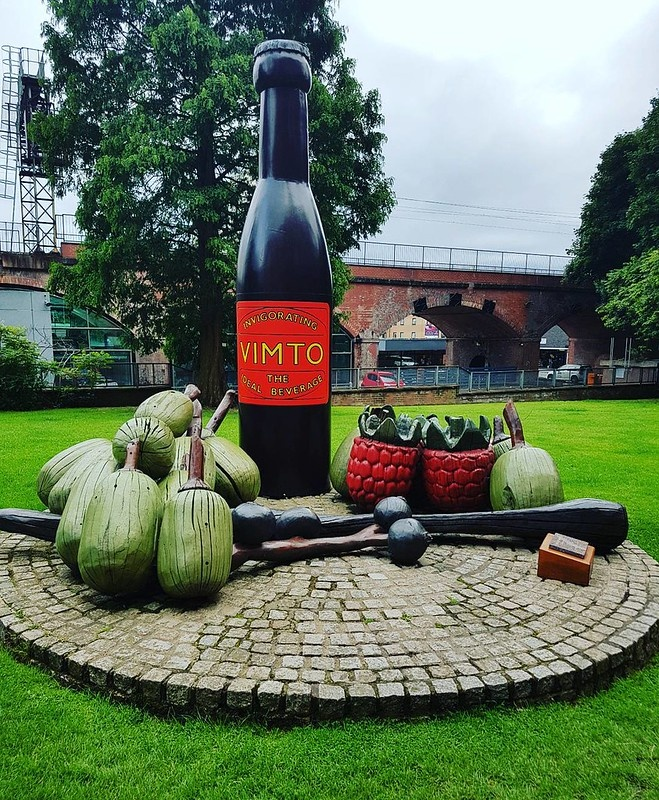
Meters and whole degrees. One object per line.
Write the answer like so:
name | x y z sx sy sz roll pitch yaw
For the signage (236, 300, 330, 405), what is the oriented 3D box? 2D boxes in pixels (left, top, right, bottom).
signage | -0.474 -0.545 6.560 0.907 1.292 0.975 4 6 37

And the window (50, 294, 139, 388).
window | -8.791 -2.195 21.574 2.933 4.164 0.241 -3 0 -16

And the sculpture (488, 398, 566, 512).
sculpture | 2.458 0.599 7.164 0.519 1.412 0.543 -5 -15 -2

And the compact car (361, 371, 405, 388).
compact car | 2.268 -0.864 24.949 1.234 0.814 0.861 0 8 38

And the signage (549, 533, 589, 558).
signage | 1.646 1.002 4.047 0.246 0.054 0.289 7 10 31

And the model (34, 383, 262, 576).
model | -1.336 0.425 4.469 0.953 0.817 1.836 1 11 9

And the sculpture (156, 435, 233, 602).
sculpture | -0.795 0.708 3.458 0.380 0.857 0.416 4 8 23

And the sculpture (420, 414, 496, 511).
sculpture | 1.153 0.562 5.565 0.657 1.122 0.713 -1 1 -8

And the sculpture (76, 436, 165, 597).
sculpture | -1.253 0.705 3.570 0.413 1.010 0.425 -28 -42 25
